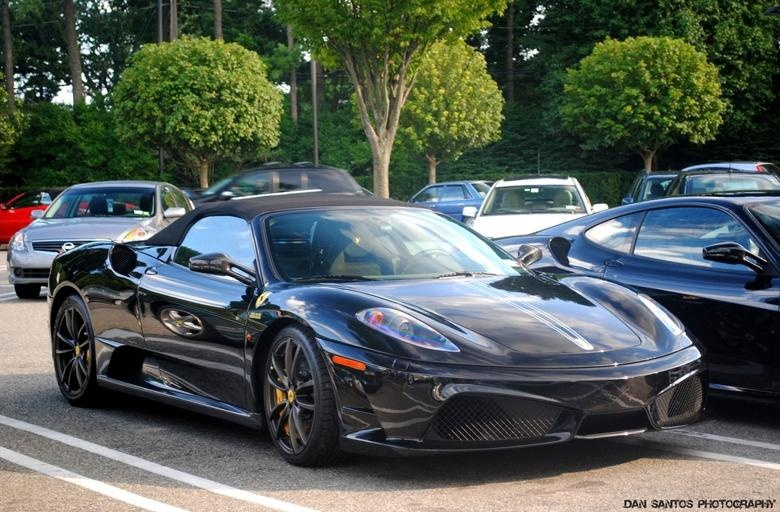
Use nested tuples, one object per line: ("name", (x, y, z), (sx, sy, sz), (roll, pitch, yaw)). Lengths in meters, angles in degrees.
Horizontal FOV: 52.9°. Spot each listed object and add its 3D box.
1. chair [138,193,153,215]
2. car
("chair", (-4.487, -0.963, 14.328), (0.311, 0.389, 0.124), (1, -19, -6))
("car", (-0.548, 0.388, 6.171), (4.368, 0.941, 2.238), (2, 3, 41))
